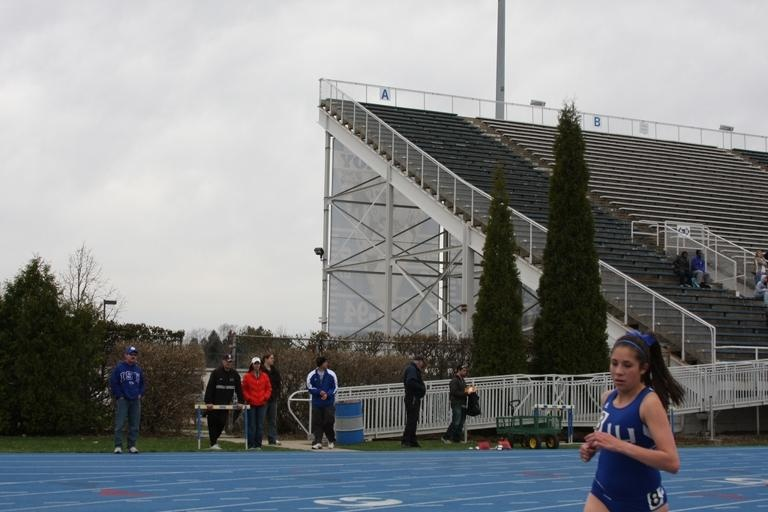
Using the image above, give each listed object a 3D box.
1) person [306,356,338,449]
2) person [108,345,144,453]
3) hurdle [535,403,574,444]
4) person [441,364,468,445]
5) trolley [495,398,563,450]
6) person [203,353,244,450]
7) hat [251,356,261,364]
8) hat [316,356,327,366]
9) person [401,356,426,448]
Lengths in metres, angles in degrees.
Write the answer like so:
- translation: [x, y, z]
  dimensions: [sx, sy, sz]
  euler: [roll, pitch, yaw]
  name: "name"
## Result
- translation: [-2.073, 4.637, 45.114]
  dimensions: [1.038, 2.679, 1.031]
  euler: [3, -5, -35]
  name: "person"
- translation: [-7.605, 4.280, 42.494]
  dimensions: [1.093, 3.072, 0.944]
  euler: [2, 4, 1]
  name: "person"
- translation: [5.447, 5.425, 46.355]
  dimensions: [1.285, 1.154, 0.171]
  euler: [6, -15, -29]
  name: "hurdle"
- translation: [2.361, 4.896, 46.984]
  dimensions: [0.865, 2.405, 0.814]
  euler: [-1, -4, 11]
  name: "person"
- translation: [4.633, 5.612, 46.256]
  dimensions: [1.097, 1.233, 2.004]
  euler: [4, -8, -35]
  name: "trolley"
- translation: [-4.921, 4.532, 43.889]
  dimensions: [1.080, 2.819, 1.519]
  euler: [2, -11, -7]
  name: "person"
- translation: [-3.975, 3.287, 44.563]
  dimensions: [0.249, 0.163, 0.403]
  euler: [3, -6, -12]
  name: "hat"
- translation: [-1.960, 3.318, 44.852]
  dimensions: [0.240, 0.290, 0.283]
  euler: [4, 6, 31]
  name: "hat"
- translation: [0.990, 4.659, 46.013]
  dimensions: [0.797, 2.883, 0.973]
  euler: [1, -9, 12]
  name: "person"
